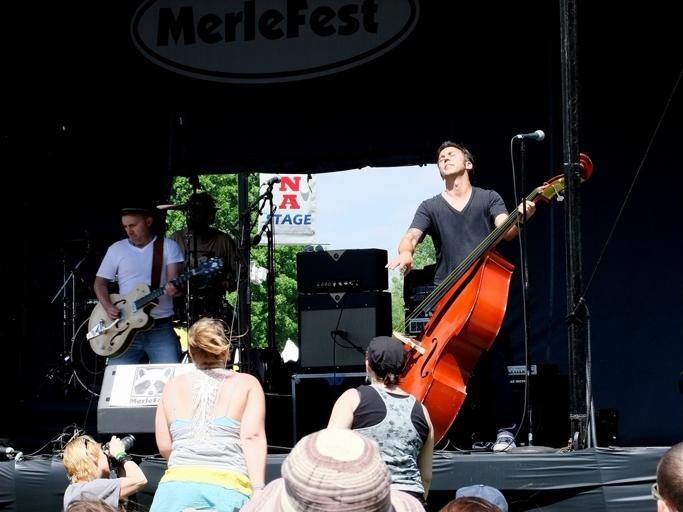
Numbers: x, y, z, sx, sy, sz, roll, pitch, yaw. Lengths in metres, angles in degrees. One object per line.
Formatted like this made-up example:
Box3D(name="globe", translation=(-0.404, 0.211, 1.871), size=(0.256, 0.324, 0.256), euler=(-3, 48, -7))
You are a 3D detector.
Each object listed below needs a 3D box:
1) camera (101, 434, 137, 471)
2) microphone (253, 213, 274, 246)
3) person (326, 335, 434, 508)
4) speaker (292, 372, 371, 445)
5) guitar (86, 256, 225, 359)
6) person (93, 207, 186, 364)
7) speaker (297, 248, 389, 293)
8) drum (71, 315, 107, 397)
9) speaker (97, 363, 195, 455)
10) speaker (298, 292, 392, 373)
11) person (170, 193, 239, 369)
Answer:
Box3D(name="camera", translation=(-1.981, 1.734, 8.000), size=(0.266, 0.186, 0.489), euler=(41, -25, 1))
Box3D(name="microphone", translation=(-0.946, -0.340, 10.731), size=(0.155, 0.589, 0.147), euler=(18, 5, 9))
Box3D(name="person", translation=(0.326, 1.201, 6.620), size=(0.642, 1.271, 0.660), euler=(2, 6, -5))
Box3D(name="speaker", translation=(-0.101, 1.512, 9.246), size=(0.758, 0.700, 0.679), euler=(2, 4, 8))
Box3D(name="guitar", translation=(-2.119, 0.585, 9.330), size=(1.762, 0.774, 0.273), euler=(-29, -20, 17))
Box3D(name="person", translation=(-2.199, 0.259, 9.547), size=(0.892, 1.830, 0.833), euler=(0, 10, -18))
Box3D(name="speaker", translation=(0.003, 0.157, 9.139), size=(0.826, 0.491, 0.475), euler=(-1, -3, 11))
Box3D(name="drum", translation=(-3.133, 1.249, 10.686), size=(0.389, 1.046, 0.448), euler=(1, 7, -31))
Box3D(name="speaker", translation=(-1.889, 1.302, 8.537), size=(1.027, 0.757, 0.790), euler=(1, -4, 1))
Box3D(name="speaker", translation=(0.113, 0.763, 9.246), size=(1.109, 1.083, 0.721), euler=(0, -3, 9))
Box3D(name="person", translation=(-1.624, 0.284, 10.633), size=(0.610, 2.021, 0.573), euler=(2, 7, 0))
